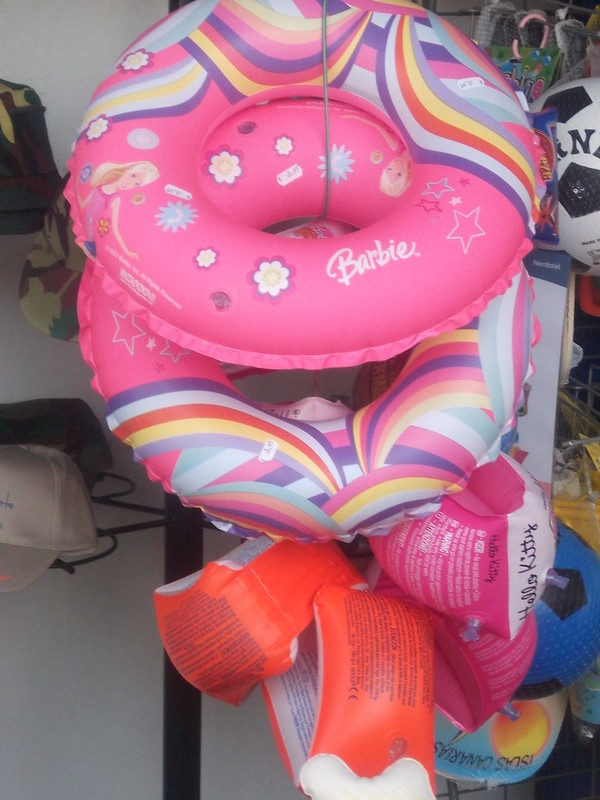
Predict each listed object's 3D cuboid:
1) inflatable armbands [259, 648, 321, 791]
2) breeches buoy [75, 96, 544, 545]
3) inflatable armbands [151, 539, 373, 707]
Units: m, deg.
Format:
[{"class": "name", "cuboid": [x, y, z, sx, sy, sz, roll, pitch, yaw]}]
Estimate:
[{"class": "inflatable armbands", "cuboid": [0.006, 0.475, 1.066, 0.107, 0.068, 0.192, -26, 70, 29]}, {"class": "breeches buoy", "cuboid": [0.028, -0.131, 1.025, 0.631, 0.360, 0.541, 17, 41, 6]}, {"class": "inflatable armbands", "cuboid": [-0.064, 0.301, 1.094, 0.369, 0.239, 0.190, -8, 32, -7]}]
